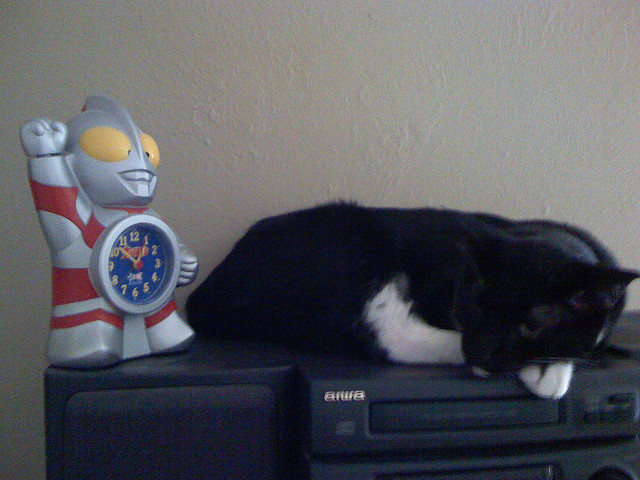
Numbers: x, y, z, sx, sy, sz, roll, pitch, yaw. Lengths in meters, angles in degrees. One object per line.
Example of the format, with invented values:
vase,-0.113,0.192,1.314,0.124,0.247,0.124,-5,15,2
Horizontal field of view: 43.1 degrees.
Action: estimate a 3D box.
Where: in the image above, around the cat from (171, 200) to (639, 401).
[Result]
cat,0.213,0.181,2.409,1.103,0.363,0.614,2,-5,-4
